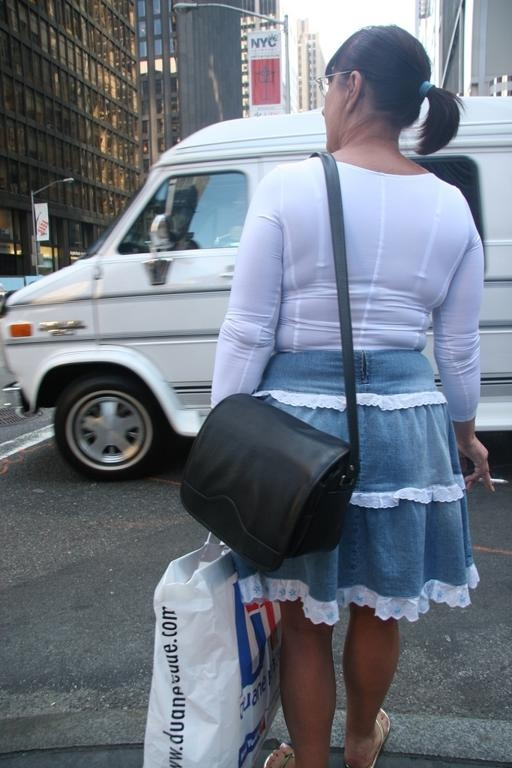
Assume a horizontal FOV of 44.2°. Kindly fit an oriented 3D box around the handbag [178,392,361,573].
[{"bbox_3d":[0.005,0.174,1.177,0.280,0.248,0.171,27,35,25],"label":"handbag"}]

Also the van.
[{"bbox_3d":[-0.069,-0.708,5.289,3.620,2.417,2.111,0,4,5],"label":"van"}]
